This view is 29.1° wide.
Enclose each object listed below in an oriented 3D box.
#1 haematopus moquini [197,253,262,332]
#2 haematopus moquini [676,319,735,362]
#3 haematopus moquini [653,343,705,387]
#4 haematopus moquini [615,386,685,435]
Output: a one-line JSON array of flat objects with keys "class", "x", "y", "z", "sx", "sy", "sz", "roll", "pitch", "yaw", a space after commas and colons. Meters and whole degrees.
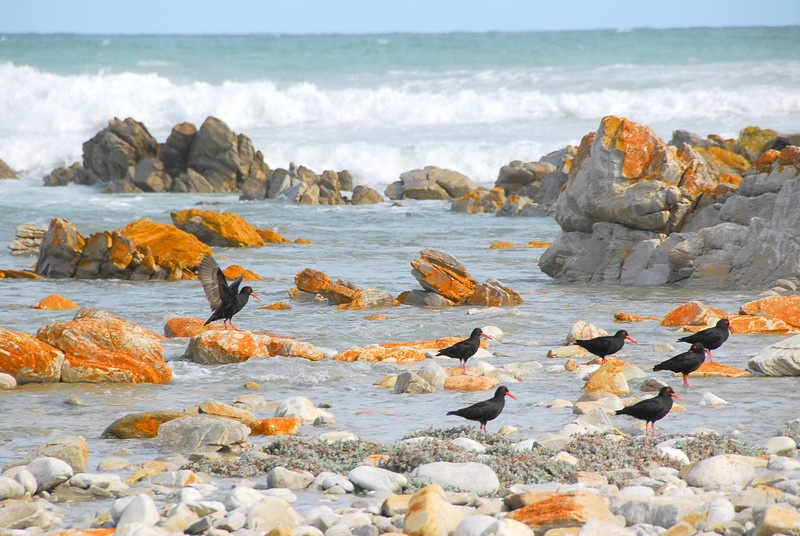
[{"class": "haematopus moquini", "x": -8.020, "y": 0.989, "z": 69.523, "sx": 2.194, "sy": 3.290, "sz": 0.928, "roll": -6, "pitch": 14, "yaw": -42}, {"class": "haematopus moquini", "x": 13.770, "y": 3.118, "z": 68.203, "sx": 3.122, "sy": 1.765, "sz": 1.239, "roll": 0, "pitch": 5, "yaw": -3}, {"class": "haematopus moquini", "x": 12.335, "y": 4.141, "z": 67.006, "sx": 3.174, "sy": 1.844, "sz": 1.239, "roll": -1, "pitch": 11, "yaw": -5}, {"class": "haematopus moquini", "x": 9.894, "y": 6.093, "z": 65.798, "sx": 2.472, "sy": 1.855, "sz": 3.344, "roll": -1, "pitch": -1, "yaw": 24}]
